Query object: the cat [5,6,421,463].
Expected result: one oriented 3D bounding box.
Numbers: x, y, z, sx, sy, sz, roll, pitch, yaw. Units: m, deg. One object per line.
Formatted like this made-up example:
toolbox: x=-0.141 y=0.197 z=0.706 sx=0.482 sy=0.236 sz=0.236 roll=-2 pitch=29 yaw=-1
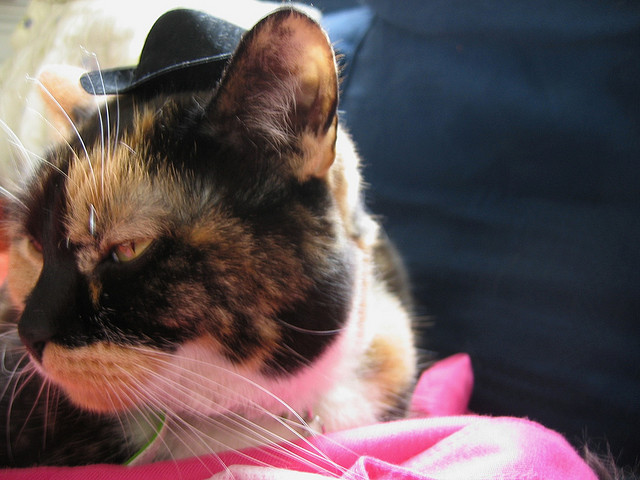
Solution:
cat: x=-0.128 y=0.022 z=1.297 sx=0.466 sy=0.558 sz=0.719 roll=-9 pitch=-3 yaw=33
